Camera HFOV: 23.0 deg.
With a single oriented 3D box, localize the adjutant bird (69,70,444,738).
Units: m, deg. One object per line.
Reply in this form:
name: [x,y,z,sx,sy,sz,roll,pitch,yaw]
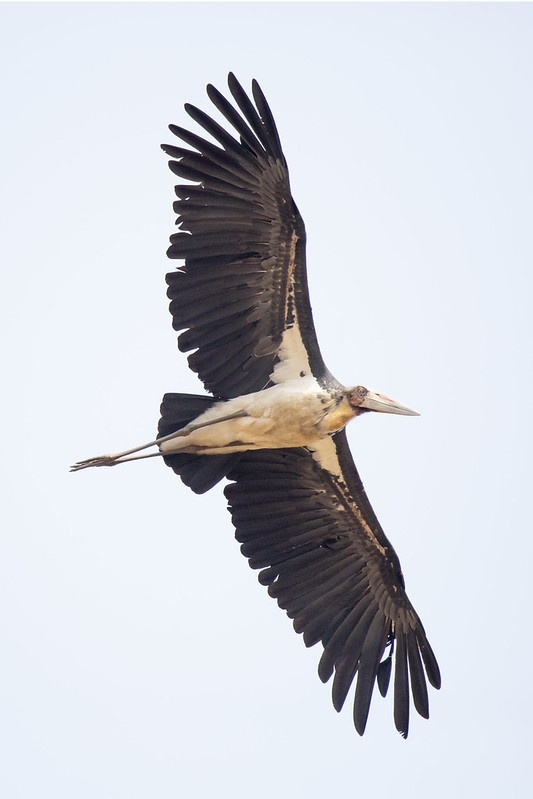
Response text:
adjutant bird: [-0.265,0.081,9.578,2.705,0.559,4.795,-15,-88,18]
